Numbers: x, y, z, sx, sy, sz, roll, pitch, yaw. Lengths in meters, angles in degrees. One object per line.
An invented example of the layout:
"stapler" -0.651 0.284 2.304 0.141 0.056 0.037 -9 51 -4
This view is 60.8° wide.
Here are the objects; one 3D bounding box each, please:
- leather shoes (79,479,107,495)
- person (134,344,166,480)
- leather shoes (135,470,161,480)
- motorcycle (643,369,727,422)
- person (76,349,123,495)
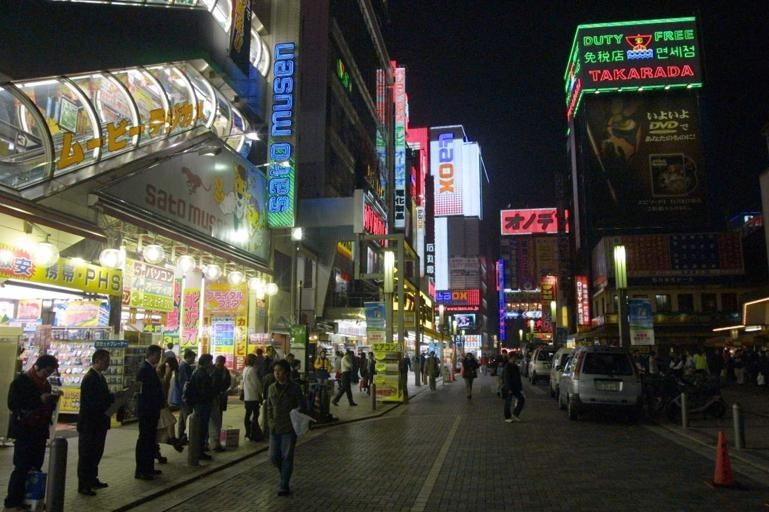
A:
"leather shoes" -6.157 4.887 13.791 0.541 0.248 0.181 -1 -3 -17
"person" -5.331 3.557 14.898 0.687 2.718 0.813 1 2 2
"leather shoes" -5.293 4.923 14.655 0.527 0.193 0.234 -4 -14 15
"motorcycle" 10.678 4.799 22.494 2.968 2.018 1.539 3 -16 -5
"person" -6.181 3.512 13.997 0.682 3.017 0.482 5 -12 -25
